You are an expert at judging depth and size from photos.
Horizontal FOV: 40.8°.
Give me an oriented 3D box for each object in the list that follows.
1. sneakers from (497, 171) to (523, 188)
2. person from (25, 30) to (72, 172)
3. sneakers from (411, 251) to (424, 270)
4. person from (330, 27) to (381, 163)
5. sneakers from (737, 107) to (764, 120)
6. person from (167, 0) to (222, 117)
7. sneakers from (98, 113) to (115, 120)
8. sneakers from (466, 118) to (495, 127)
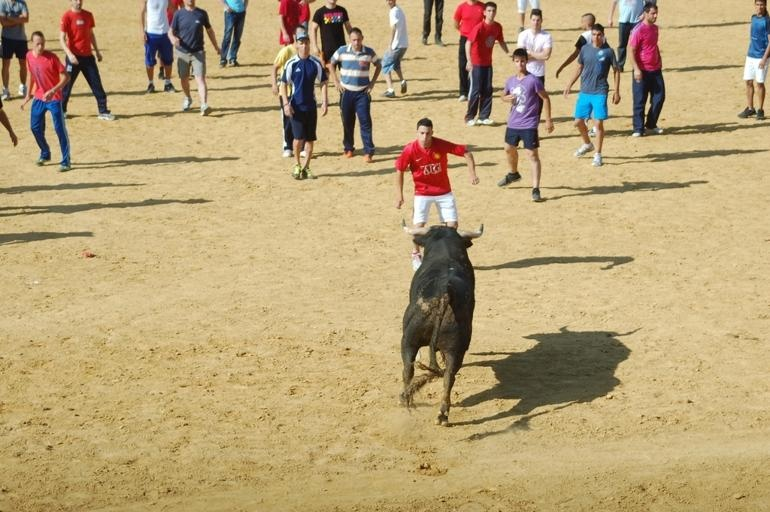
[{"bbox_3d":[2.791,-1.742,23.167,0.676,0.273,0.218,-13,37,6],"label":"sneakers"},{"bbox_3d":[-7.789,-3.516,23.908,0.900,3.222,1.191,-7,22,-18],"label":"person"},{"bbox_3d":[0.604,0.079,19.907,0.147,0.390,0.176,-2,2,-3],"label":"sneakers"},{"bbox_3d":[-0.728,-3.760,24.507,1.173,3.198,1.273,-1,21,-3],"label":"person"},{"bbox_3d":[9.275,-3.609,26.314,0.694,0.272,0.244,7,17,9],"label":"sneakers"},{"bbox_3d":[-4.890,-5.037,26.727,1.276,3.070,0.975,2,21,6],"label":"person"},{"bbox_3d":[-7.357,-3.690,27.365,0.469,0.204,0.175,2,26,5],"label":"sneakers"},{"bbox_3d":[2.464,-3.440,26.775,0.691,0.277,0.251,3,11,29],"label":"sneakers"}]
